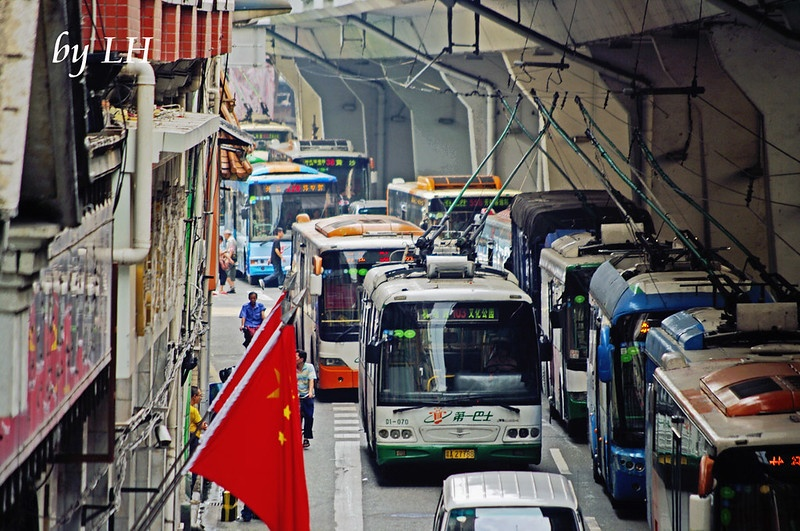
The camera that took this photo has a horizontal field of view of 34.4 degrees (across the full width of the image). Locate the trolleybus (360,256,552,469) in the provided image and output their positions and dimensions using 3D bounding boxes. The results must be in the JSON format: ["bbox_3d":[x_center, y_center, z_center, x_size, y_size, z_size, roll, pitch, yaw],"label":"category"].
[{"bbox_3d":[0.829,1.629,19.895,1.561,2.171,4.524,-1,-1,-3],"label":"trolleybus"}]

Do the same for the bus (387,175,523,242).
[{"bbox_3d":[1.296,-1.823,40.323,1.651,2.187,6.340,-1,2,-8],"label":"bus"}]

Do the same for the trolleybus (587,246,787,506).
[{"bbox_3d":[3.847,1.416,18.468,1.500,2.682,5.181,-1,6,3],"label":"trolleybus"}]

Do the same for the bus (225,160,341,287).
[{"bbox_3d":[-3.899,-1.609,40.265,1.903,2.932,5.666,-1,4,-9],"label":"bus"}]

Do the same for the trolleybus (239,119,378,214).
[{"bbox_3d":[-3.704,-4.256,52.913,2.880,4.277,12.338,-1,7,-12],"label":"trolleybus"}]
